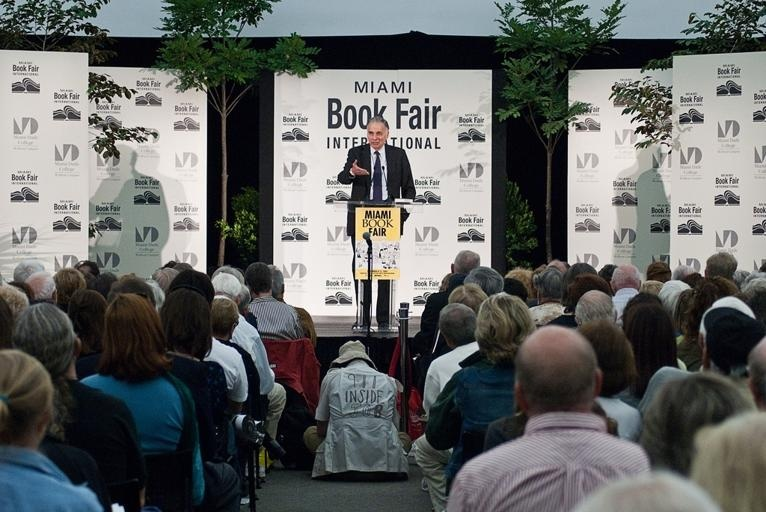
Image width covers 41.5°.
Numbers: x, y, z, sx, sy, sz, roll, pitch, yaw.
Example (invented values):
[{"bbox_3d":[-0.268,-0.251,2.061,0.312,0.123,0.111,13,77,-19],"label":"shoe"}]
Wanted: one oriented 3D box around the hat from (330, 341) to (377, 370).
[{"bbox_3d":[-0.293,0.900,9.419,0.259,0.175,0.317,-3,-14,7],"label":"hat"}]
